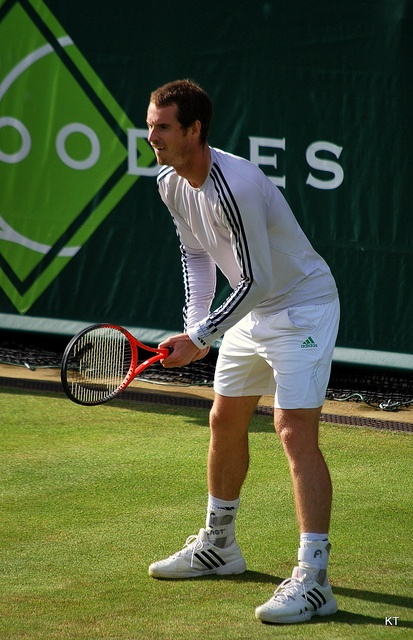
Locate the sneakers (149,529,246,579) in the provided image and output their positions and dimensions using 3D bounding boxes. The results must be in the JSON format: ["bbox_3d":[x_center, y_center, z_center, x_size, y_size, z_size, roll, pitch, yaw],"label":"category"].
[{"bbox_3d":[-0.020,0.688,2.061,0.327,0.149,0.112,2,-11,-9],"label":"sneakers"}]

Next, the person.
[{"bbox_3d":[0.122,0.065,2.004,0.642,1.413,0.584,5,7,22],"label":"person"}]

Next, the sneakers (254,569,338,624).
[{"bbox_3d":[0.235,0.720,1.816,0.256,0.118,0.084,6,-11,-40],"label":"sneakers"}]
